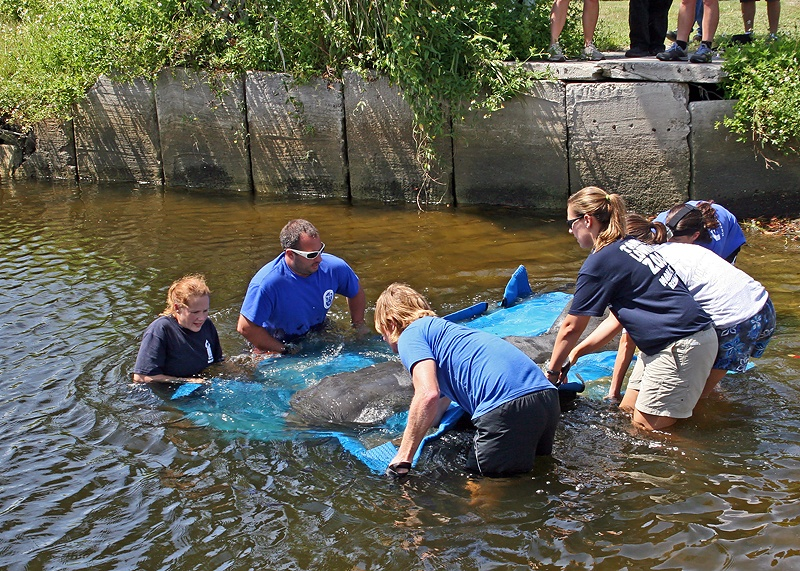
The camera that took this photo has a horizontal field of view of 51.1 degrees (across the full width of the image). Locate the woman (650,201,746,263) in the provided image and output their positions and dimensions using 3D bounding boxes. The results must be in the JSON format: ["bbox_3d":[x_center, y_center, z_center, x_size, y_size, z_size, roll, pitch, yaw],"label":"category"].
[{"bbox_3d":[3.395,-0.553,8.712,0.825,0.360,0.497,22,-11,-37],"label":"woman"}]

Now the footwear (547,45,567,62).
[{"bbox_3d":[2.473,-3.663,13.184,0.189,0.164,0.384,-6,20,-1],"label":"footwear"}]

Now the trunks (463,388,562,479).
[{"bbox_3d":[0.975,1.288,7.288,0.789,0.492,0.518,-15,28,-38],"label":"trunks"}]

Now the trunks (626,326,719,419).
[{"bbox_3d":[2.532,0.806,7.790,0.583,0.806,0.895,19,1,-2],"label":"trunks"}]

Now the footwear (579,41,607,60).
[{"bbox_3d":[3.118,-3.725,13.267,0.453,0.205,0.234,20,36,36],"label":"footwear"}]

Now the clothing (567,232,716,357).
[{"bbox_3d":[2.187,0.083,7.601,1.292,1.105,0.474,-33,-12,-19],"label":"clothing"}]

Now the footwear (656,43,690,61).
[{"bbox_3d":[4.127,-3.558,12.680,0.440,0.281,0.214,-1,15,10],"label":"footwear"}]

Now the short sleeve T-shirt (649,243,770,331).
[{"bbox_3d":[2.918,-0.025,7.777,1.082,0.325,0.714,31,47,20],"label":"short sleeve T-shirt"}]

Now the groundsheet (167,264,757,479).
[{"bbox_3d":[0.046,0.860,9.199,4.559,0.617,2.309,-13,24,-29],"label":"groundsheet"}]

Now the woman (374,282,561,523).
[{"bbox_3d":[0.749,0.790,7.642,2.116,1.443,1.454,14,27,36],"label":"woman"}]

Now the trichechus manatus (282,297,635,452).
[{"bbox_3d":[0.932,1.105,8.941,3.922,1.012,1.090,-14,48,-5],"label":"trichechus manatus"}]

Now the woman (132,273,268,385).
[{"bbox_3d":[-2.179,0.524,9.227,0.712,1.023,1.181,18,18,31],"label":"woman"}]

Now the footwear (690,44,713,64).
[{"bbox_3d":[4.511,-3.519,12.613,0.313,0.319,0.383,0,14,17],"label":"footwear"}]
